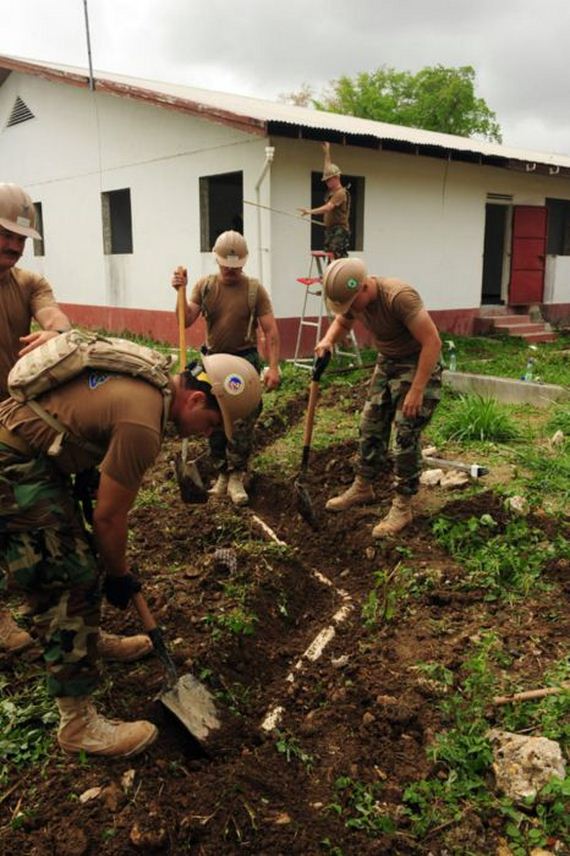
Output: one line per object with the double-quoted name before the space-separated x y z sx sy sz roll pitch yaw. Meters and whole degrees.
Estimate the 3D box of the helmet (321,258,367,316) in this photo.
"helmet" 0.331 -0.828 4.306 0.237 0.314 0.285 -4 9 -25

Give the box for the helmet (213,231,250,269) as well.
"helmet" -0.376 -1.232 5.106 0.232 0.268 0.225 -4 9 -29

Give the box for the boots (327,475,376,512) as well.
"boots" 0.411 0.438 5.012 0.427 0.275 0.151 -6 11 8

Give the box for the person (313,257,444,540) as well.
"person" 0.599 -0.178 4.544 0.658 1.643 0.660 2 9 11

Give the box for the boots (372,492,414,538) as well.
"boots" 0.659 0.537 4.548 0.330 0.221 0.122 -22 34 -26

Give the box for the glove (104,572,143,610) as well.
"glove" -0.652 0.635 2.917 0.133 0.162 0.142 0 40 -18

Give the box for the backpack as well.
"backpack" -0.687 -0.157 2.756 0.583 0.379 0.239 1 -27 -11

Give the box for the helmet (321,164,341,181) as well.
"helmet" 0.503 -2.821 8.194 0.171 0.194 0.294 0 8 -2
